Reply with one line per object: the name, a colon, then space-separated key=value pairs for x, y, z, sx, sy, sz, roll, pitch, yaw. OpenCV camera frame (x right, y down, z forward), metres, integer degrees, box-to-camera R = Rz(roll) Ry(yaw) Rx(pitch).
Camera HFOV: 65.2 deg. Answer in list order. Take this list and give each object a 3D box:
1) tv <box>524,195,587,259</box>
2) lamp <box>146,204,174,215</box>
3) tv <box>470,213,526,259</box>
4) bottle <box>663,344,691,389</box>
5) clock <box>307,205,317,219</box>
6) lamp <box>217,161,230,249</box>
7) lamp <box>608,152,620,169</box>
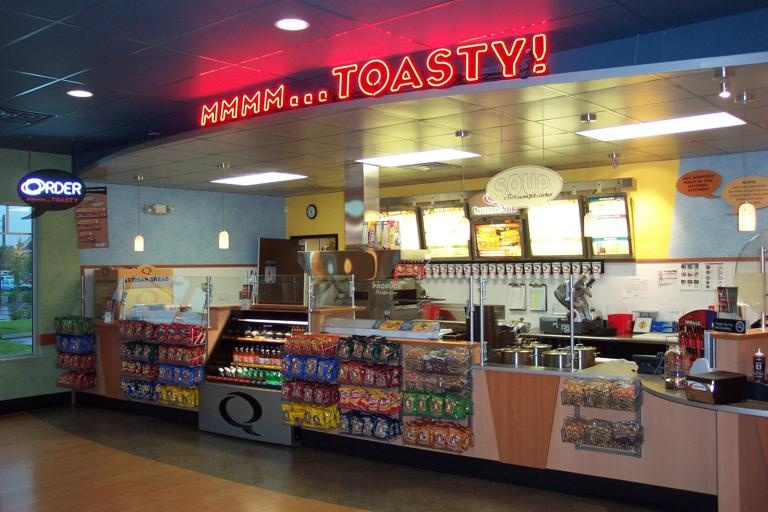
tv: x=2.945 y=-0.515 z=10.090 sx=1.187 sy=1.158 sz=0.172 roll=3 pitch=12 yaw=34
lamp: x=-4.487 y=-0.941 z=11.870 sx=0.359 sy=0.116 sz=0.194 roll=1 pitch=0 yaw=-41
tv: x=2.121 y=-0.397 z=10.901 sx=0.917 sy=0.680 sz=0.315 roll=-1 pitch=1 yaw=34
bottle: x=2.990 y=1.137 z=6.098 sx=0.231 sy=0.390 sz=0.474 roll=0 pitch=3 yaw=25
clock: x=-1.619 y=-1.003 z=13.401 sx=0.059 sy=0.354 sz=0.339 roll=-4 pitch=4 yaw=-44
lamp: x=-3.045 y=-0.738 z=11.339 sx=0.196 sy=0.989 sz=0.183 roll=1 pitch=-4 yaw=-33
lamp: x=3.621 y=-1.521 z=9.397 sx=0.212 sy=0.239 sz=0.187 roll=6 pitch=-11 yaw=-1
